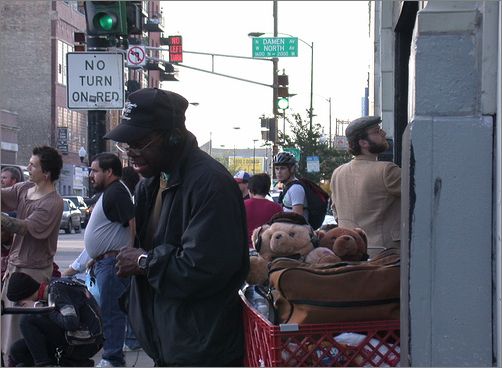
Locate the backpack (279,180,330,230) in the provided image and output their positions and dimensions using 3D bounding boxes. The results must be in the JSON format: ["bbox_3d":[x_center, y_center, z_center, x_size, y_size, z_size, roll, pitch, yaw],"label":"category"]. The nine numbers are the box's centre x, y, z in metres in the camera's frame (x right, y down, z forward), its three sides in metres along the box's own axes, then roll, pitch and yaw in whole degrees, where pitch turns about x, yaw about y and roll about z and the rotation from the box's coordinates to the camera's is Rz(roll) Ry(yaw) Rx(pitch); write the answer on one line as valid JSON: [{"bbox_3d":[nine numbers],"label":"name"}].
[{"bbox_3d":[0.602,0.208,9.650,0.575,0.604,0.403,-12,6,-12],"label":"backpack"}]

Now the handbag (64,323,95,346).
[{"bbox_3d":[-1.502,1.328,7.731,0.209,0.157,0.165,0,-20,18],"label":"handbag"}]

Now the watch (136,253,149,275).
[{"bbox_3d":[-0.722,0.523,5.848,0.068,0.124,0.114,0,-1,3],"label":"watch"}]

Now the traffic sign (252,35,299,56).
[{"bbox_3d":[0.634,-3.532,22.563,1.155,0.531,0.521,0,5,-3],"label":"traffic sign"}]

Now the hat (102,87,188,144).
[{"bbox_3d":[-0.689,-0.459,6.008,0.569,0.321,0.368,-14,20,-34],"label":"hat"}]

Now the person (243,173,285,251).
[{"bbox_3d":[0.144,0.273,9.610,0.341,0.858,0.398,4,2,-4],"label":"person"}]

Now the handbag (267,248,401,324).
[{"bbox_3d":[0.601,0.644,5.898,0.568,0.504,0.669,0,-1,-11],"label":"handbag"}]

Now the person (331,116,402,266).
[{"bbox_3d":[1.039,0.051,7.815,0.565,1.293,0.568,0,2,10],"label":"person"}]

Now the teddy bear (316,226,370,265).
[{"bbox_3d":[0.763,0.462,7.033,0.373,0.350,0.265,-1,2,-21],"label":"teddy bear"}]

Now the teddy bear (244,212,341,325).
[{"bbox_3d":[0.263,0.582,6.810,0.714,0.874,0.503,0,4,-23],"label":"teddy bear"}]

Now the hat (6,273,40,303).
[{"bbox_3d":[-2.014,0.887,7.783,0.192,0.276,0.288,0,7,16],"label":"hat"}]
